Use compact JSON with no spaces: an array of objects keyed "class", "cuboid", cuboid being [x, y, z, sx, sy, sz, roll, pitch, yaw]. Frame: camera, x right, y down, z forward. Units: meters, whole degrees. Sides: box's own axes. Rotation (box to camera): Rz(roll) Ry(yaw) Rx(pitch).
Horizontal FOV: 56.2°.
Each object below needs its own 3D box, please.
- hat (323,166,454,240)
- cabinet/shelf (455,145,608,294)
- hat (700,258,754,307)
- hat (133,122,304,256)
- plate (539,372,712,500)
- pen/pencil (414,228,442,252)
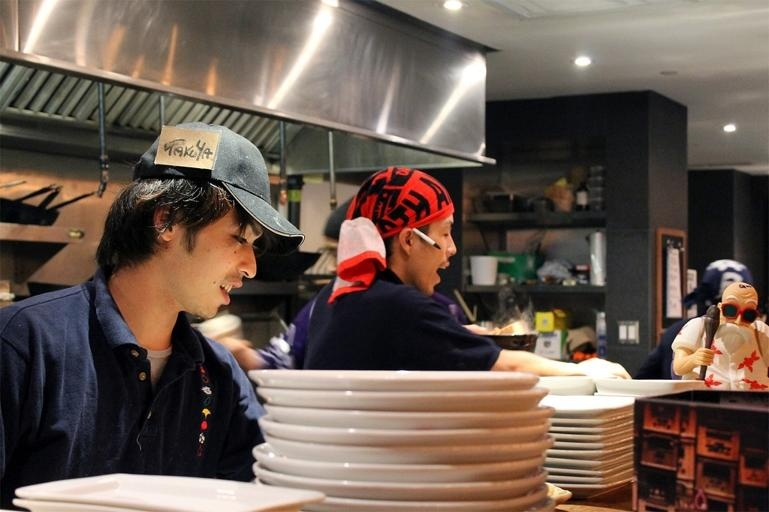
[{"class":"hat","cuboid":[0.026,-0.153,2.213,0.314,0.234,0.250,7,-8,-8]},{"class":"cabinet/shelf","cuboid":[1.039,-0.248,4.920,0.985,0.966,0.319,1,-3,8]},{"class":"hat","cuboid":[1.192,0.068,2.532,0.156,0.188,0.203,3,-17,15]},{"class":"hat","cuboid":[-0.342,-0.173,1.694,0.379,0.199,0.253,22,-10,-12]},{"class":"plate","cuboid":[0.488,0.372,1.507,0.327,0.119,0.260,-6,-7,31]},{"class":"pen/pencil","cuboid":[0.122,-0.047,2.095,0.106,0.027,0.019,29,10,5]}]
